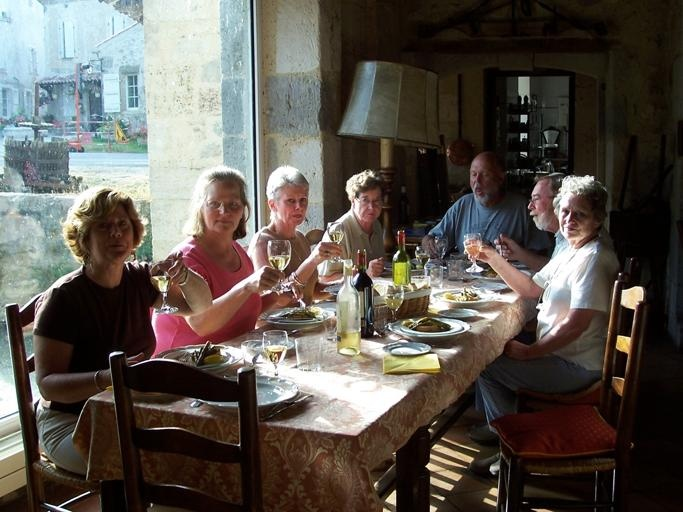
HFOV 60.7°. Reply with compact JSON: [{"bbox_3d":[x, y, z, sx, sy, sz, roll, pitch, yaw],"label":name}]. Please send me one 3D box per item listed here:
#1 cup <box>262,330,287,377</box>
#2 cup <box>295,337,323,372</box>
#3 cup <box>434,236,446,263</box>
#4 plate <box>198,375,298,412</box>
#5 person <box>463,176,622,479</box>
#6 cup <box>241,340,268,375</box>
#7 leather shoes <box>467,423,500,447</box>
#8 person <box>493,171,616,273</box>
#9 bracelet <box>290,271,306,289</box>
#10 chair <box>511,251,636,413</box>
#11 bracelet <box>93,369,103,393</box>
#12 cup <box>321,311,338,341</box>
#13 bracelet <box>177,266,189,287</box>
[{"bbox_3d":[-0.230,0.351,2.064,0.112,0.199,0.130,0,1,-4],"label":"cup"},{"bbox_3d":[-0.123,0.371,2.217,0.108,0.124,0.105,-1,3,0],"label":"cup"},{"bbox_3d":[0.654,-0.044,3.838,0.066,0.169,0.246,2,9,12],"label":"cup"},{"bbox_3d":[-0.281,0.409,1.715,0.137,0.016,0.143,4,8,29],"label":"plate"},{"bbox_3d":[1.017,0.380,3.053,0.710,1.480,0.567,3,7,24],"label":"person"},{"bbox_3d":[-0.316,0.350,2.080,0.099,0.108,0.104,1,9,0],"label":"cup"},{"bbox_3d":[0.842,1.064,3.455,0.213,0.091,0.119,11,13,35],"label":"leather shoes"},{"bbox_3d":[1.341,-0.198,3.743,0.748,0.544,0.383,-2,17,29],"label":"person"},{"bbox_3d":[-0.208,0.116,2.782,0.064,0.028,0.072,45,5,33],"label":"bracelet"},{"bbox_3d":[1.206,0.382,3.044,0.591,1.087,0.573,1,5,26],"label":"chair"},{"bbox_3d":[-0.844,0.433,2.015,0.030,0.082,0.062,-12,13,-18],"label":"bracelet"},{"bbox_3d":[-0.044,0.289,2.370,0.086,0.100,0.088,-2,1,0],"label":"cup"},{"bbox_3d":[-0.655,0.082,2.439,0.027,0.071,0.051,5,-10,12],"label":"bracelet"}]
